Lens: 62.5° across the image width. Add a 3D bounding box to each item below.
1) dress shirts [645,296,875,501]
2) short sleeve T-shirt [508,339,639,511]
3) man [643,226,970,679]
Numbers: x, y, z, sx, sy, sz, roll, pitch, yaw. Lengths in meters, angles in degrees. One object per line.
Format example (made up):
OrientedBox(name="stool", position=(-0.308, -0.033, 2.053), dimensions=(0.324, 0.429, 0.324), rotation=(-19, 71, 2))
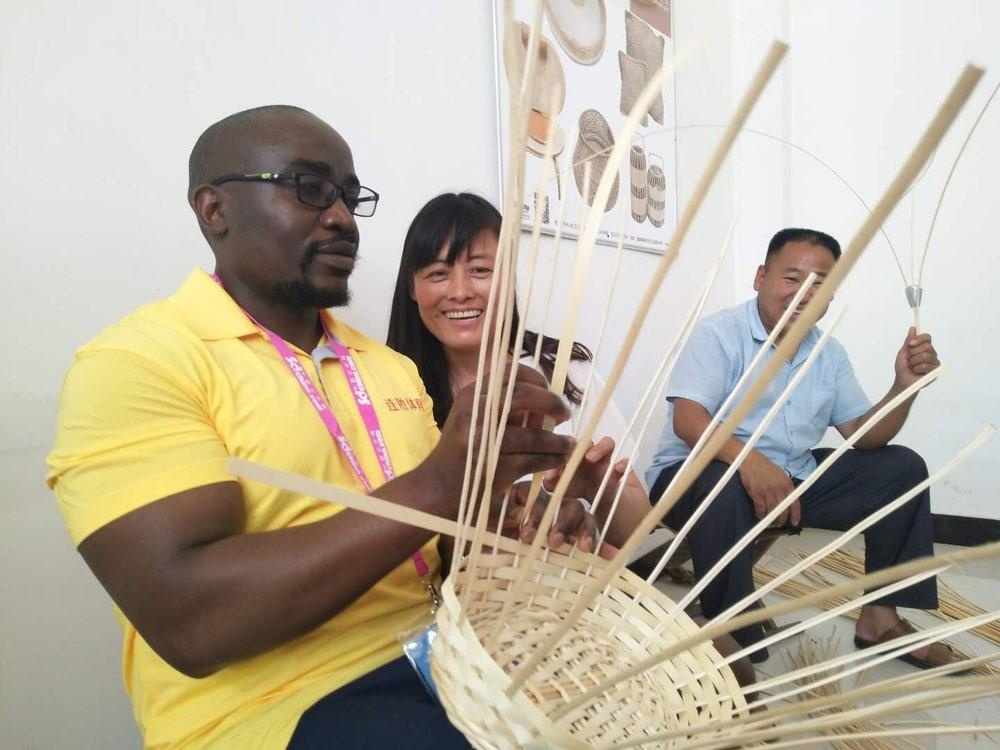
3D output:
OrientedBox(name="dress shirts", position=(0.635, 0.070, 2.066), dimensions=(0.497, 0.478, 0.282), rotation=(8, 5, -25))
OrientedBox(name="short sleeve T-shirt", position=(0.212, 0.115, 1.980), dimensions=(0.345, 0.379, 0.085), rotation=(-36, 18, -32))
OrientedBox(name="man", position=(0.842, 0.203, 2.334), dimensions=(0.715, 1.216, 0.757), rotation=(2, 2, 26))
